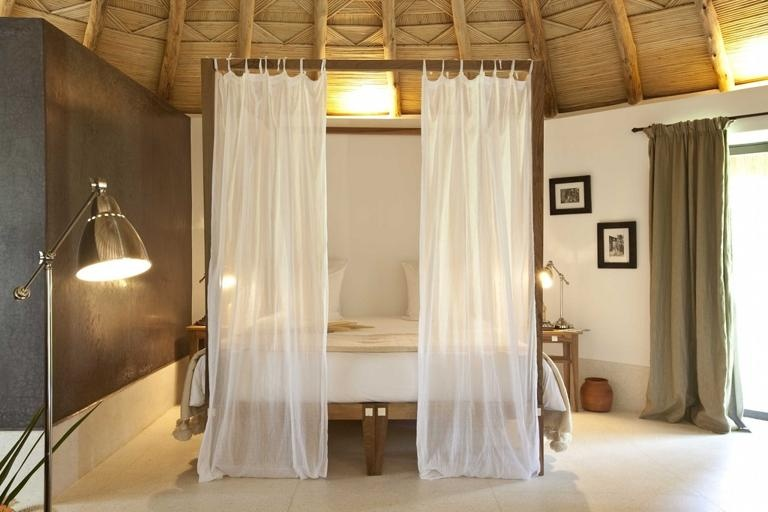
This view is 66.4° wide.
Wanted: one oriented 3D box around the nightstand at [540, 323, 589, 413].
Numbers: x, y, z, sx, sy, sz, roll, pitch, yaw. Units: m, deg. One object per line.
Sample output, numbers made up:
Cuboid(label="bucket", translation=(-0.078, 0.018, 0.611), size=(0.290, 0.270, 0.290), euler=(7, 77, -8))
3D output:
Cuboid(label="nightstand", translation=(1.835, 1.178, 6.338), size=(0.544, 0.803, 0.616), euler=(1, -2, 15))

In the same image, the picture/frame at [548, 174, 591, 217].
Cuboid(label="picture/frame", translation=(2.060, -0.673, 6.421), size=(0.436, 0.469, 0.033), euler=(1, -2, 29))
